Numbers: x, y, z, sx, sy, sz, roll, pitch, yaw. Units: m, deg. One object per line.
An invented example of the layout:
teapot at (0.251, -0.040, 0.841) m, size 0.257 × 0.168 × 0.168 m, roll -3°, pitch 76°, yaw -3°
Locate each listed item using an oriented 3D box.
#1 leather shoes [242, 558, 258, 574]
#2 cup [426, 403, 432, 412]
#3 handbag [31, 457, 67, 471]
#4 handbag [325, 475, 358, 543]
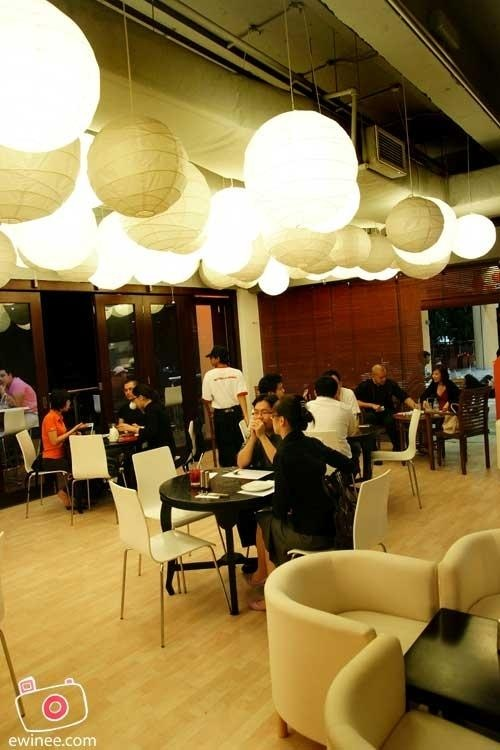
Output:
leather shoes at (-0.002, 1.337, 3.730) m, size 0.128 × 0.042 × 0.103 m, roll -1°, pitch 5°, yaw -9°
cup at (2.275, 0.413, 6.784) m, size 0.108 × 0.085 × 0.109 m, roll 1°, pitch -12°, yaw 0°
handbag at (-2.230, 1.000, 5.936) m, size 0.206 × 0.068 × 0.240 m, roll 1°, pitch 6°, yaw 9°
handbag at (0.478, 0.726, 2.834) m, size 0.149 × 0.364 × 0.278 m, roll -5°, pitch 5°, yaw 19°
